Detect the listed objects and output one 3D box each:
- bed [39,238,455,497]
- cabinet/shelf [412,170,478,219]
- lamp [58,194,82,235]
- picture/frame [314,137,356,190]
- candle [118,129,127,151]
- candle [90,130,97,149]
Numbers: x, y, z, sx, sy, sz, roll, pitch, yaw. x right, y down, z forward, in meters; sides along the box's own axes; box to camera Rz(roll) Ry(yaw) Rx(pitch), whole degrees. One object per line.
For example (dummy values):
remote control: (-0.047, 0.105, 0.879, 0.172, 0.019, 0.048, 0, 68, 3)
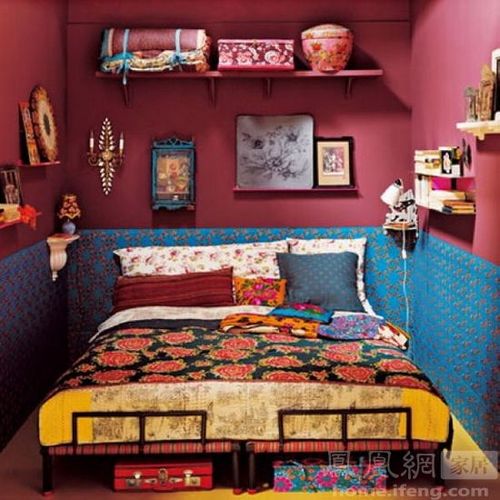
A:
bed: (0.016, 0.574, 3.509, 2.164, 0.951, 2.139, -1, 11, -3)
cabinet/shelf: (1.191, -0.346, 3.275, 0.152, 0.211, 0.560, 0, 8, 0)
lamp: (-1.415, -0.263, 4.213, 0.170, 0.303, 0.174, 3, 5, 31)
picture/frame: (0.694, -0.725, 4.392, 0.368, 0.527, 0.028, -1, 2, -1)
candle: (-1.033, -0.861, 4.347, 0.059, 0.169, 0.050, -2, 10, -7)
candle: (-1.267, -0.874, 4.338, 0.046, 0.154, 0.031, -3, 10, -15)
